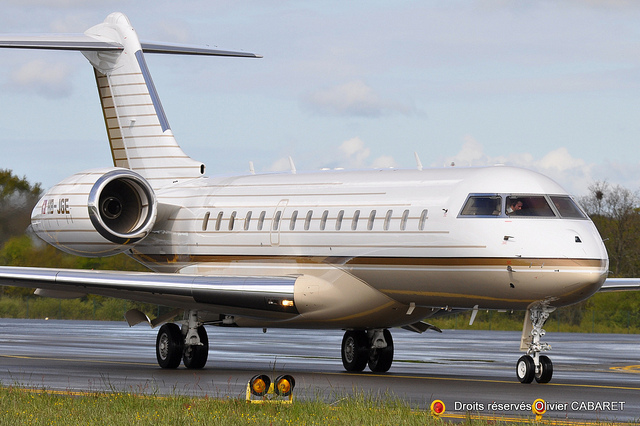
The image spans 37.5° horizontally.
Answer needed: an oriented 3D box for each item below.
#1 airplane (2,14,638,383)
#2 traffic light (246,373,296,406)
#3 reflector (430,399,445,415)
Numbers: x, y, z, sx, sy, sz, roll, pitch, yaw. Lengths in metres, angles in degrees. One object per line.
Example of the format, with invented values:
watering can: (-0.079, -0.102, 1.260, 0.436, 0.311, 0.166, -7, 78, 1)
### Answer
airplane: (-0.594, -1.074, 24.477, 14.328, 10.449, 4.544, -3, -1, 16)
traffic light: (-0.923, 3.358, 18.028, 0.812, 0.464, 0.609, 2, -8, -14)
reflector: (2.152, 3.427, 16.835, 0.304, 0.273, 0.076, -3, -13, 11)
